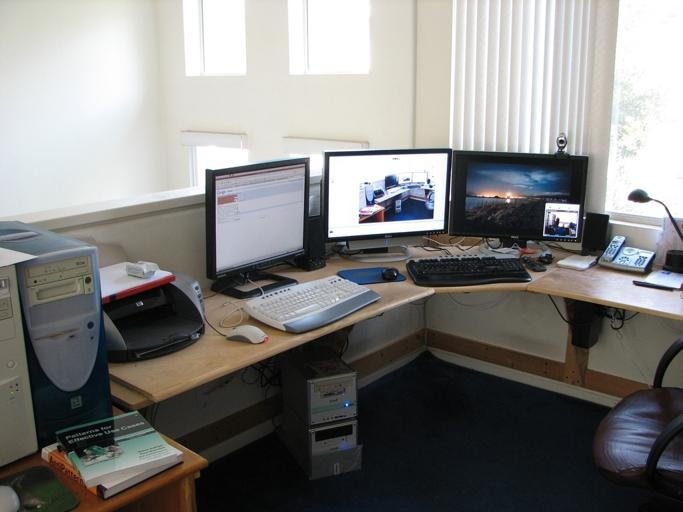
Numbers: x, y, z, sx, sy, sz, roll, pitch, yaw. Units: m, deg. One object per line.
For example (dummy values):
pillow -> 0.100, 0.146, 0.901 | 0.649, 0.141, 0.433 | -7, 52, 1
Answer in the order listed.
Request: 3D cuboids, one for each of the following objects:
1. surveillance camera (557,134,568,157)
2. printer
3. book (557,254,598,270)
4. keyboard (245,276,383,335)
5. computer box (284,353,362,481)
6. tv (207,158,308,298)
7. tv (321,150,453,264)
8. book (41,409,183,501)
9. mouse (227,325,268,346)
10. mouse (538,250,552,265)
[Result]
surveillance camera -> 1.210, -0.606, 2.950 | 0.044, 0.154, 0.058 | 5, 14, 19
printer -> -0.699, 0.216, 1.995 | 0.297, 0.134, 0.396 | -20, 30, -41
book -> 1.219, 0.033, 2.785 | 0.095, 0.022, 0.136 | 10, 25, 37
keyboard -> -0.113, 0.202, 2.287 | 0.530, 0.074, 0.313 | -16, 24, -37
computer box -> -0.121, 0.807, 2.725 | 0.308, 0.522, 0.464 | 0, 9, -27
tv -> -0.385, -0.145, 2.474 | 0.212, 0.591, 0.604 | 17, 21, 35
tv -> 0.234, -0.282, 2.866 | 0.700, 0.580, 0.257 | -5, 19, -19
book -> -0.662, 0.568, 1.543 | 0.314, 0.080, 0.266 | 15, 24, 40
mouse -> -0.363, 0.299, 2.025 | 0.126, 0.046, 0.071 | 6, 10, 17
mouse -> 1.073, 0.004, 2.842 | 0.056, 0.061, 0.079 | -7, 20, 14
